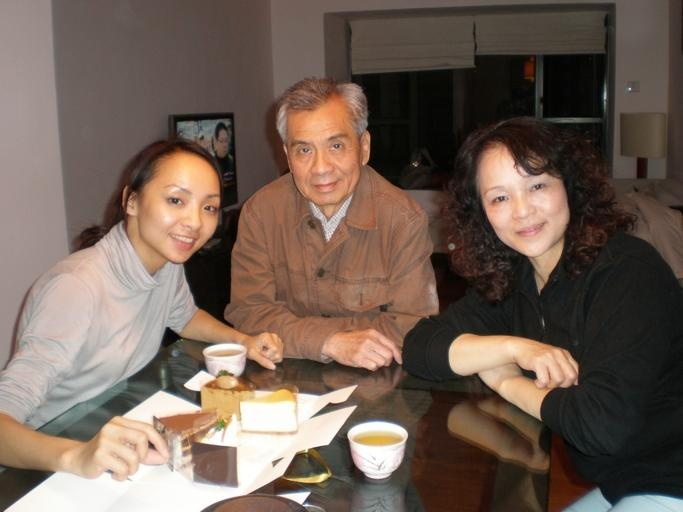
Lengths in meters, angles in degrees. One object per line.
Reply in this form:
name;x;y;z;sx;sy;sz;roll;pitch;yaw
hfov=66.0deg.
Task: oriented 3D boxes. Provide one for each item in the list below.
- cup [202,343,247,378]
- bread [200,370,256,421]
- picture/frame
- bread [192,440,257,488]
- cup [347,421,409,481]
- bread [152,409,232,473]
cup;-0.349;0.300;1.551;0.095;0.067;0.099;-1;13;0
bread;-0.290;0.349;1.339;0.100;0.100;0.101;0;-1;15
picture/frame;-1.153;-0.898;4.477;0.834;0.608;0.027;9;15;37
bread;-0.254;0.437;1.106;0.091;0.094;0.025;2;3;4
cup;0.078;0.415;1.166;0.130;0.089;0.149;0;14;7
bread;-0.348;0.393;1.178;0.108;0.069;0.125;21;20;36
